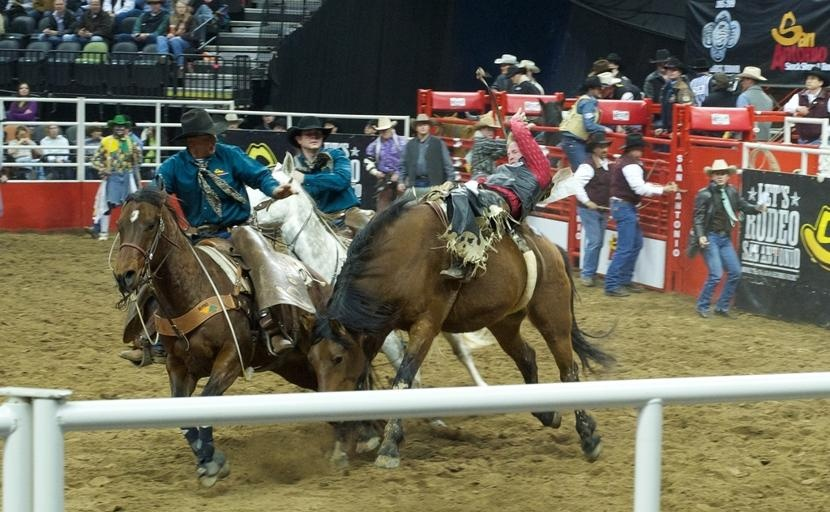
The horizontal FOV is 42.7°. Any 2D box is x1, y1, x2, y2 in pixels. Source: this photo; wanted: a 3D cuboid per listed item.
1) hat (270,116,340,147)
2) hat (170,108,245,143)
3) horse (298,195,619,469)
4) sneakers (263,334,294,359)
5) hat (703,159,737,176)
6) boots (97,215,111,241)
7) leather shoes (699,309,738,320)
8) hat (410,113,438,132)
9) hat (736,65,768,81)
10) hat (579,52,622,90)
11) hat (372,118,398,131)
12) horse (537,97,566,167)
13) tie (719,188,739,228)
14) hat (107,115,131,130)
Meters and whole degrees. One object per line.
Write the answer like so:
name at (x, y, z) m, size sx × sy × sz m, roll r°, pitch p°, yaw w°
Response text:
hat at (-1.237, -1.490, 11.939) m, size 0.656 × 0.225 × 0.665 m, roll -3°, pitch -17°, yaw -13°
hat at (-2.226, -1.347, 10.778) m, size 0.687 × 0.301 × 0.827 m, roll -9°, pitch 14°, yaw -28°
horse at (0.449, 0.699, 11.298) m, size 4.275 × 2.467 × 1.198 m, roll -3°, pitch 6°, yaw -43°
sneakers at (-1.361, 0.883, 10.573) m, size 0.202 × 0.108 × 0.255 m, roll -4°, pitch 0°, yaw -25°
hat at (4.336, -1.265, 15.087) m, size 0.338 × 0.112 × 0.334 m, roll -2°, pitch -5°, yaw 9°
boots at (-5.636, -0.544, 19.238) m, size 0.246 × 0.460 × 0.571 m, roll -6°, pitch 12°, yaw -15°
leather shoes at (4.247, 0.809, 15.064) m, size 0.580 × 0.189 × 0.156 m, roll -1°, pitch 6°, yaw 5°
hat at (0.132, -2.208, 17.601) m, size 0.367 × 0.292 × 0.541 m, roll -2°, pitch 11°, yaw 0°
hat at (5.504, -2.985, 17.249) m, size 0.501 × 0.152 × 0.400 m, roll 9°, pitch 0°, yaw 7°
hat at (3.283, -3.202, 18.351) m, size 0.635 × 0.222 × 0.660 m, roll -12°, pitch 3°, yaw -12°
hat at (-0.523, -2.257, 18.312) m, size 0.404 × 0.170 × 0.453 m, roll -11°, pitch 13°, yaw 17°
horse at (2.214, -2.041, 17.397) m, size 0.388 × 1.039 × 0.789 m, roll -2°, pitch 12°, yaw 5°
tie at (4.406, -0.713, 15.015) m, size 0.210 × 0.518 × 0.077 m, roll -23°, pitch 2°, yaw -4°
hat at (-5.136, -2.338, 18.448) m, size 0.401 × 0.209 × 0.362 m, roll -5°, pitch 11°, yaw -13°
